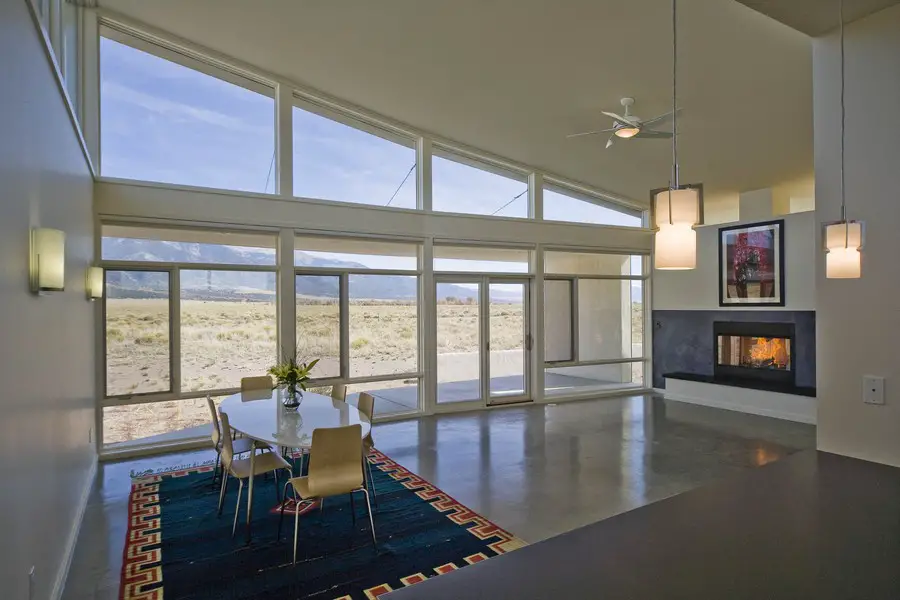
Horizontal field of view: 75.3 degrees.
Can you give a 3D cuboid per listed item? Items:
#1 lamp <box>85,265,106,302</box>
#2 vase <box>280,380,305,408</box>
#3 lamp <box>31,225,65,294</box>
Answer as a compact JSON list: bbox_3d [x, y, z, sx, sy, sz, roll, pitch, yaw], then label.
[{"bbox_3d":[-4.096,-0.174,6.723,0.143,0.459,0.853,-5,10,-27],"label":"lamp"},{"bbox_3d":[-1.666,1.042,6.359,0.272,0.317,0.280,-7,-9,44],"label":"vase"},{"bbox_3d":[-3.090,-0.315,4.517,0.261,0.465,0.167,3,5,-17],"label":"lamp"}]
